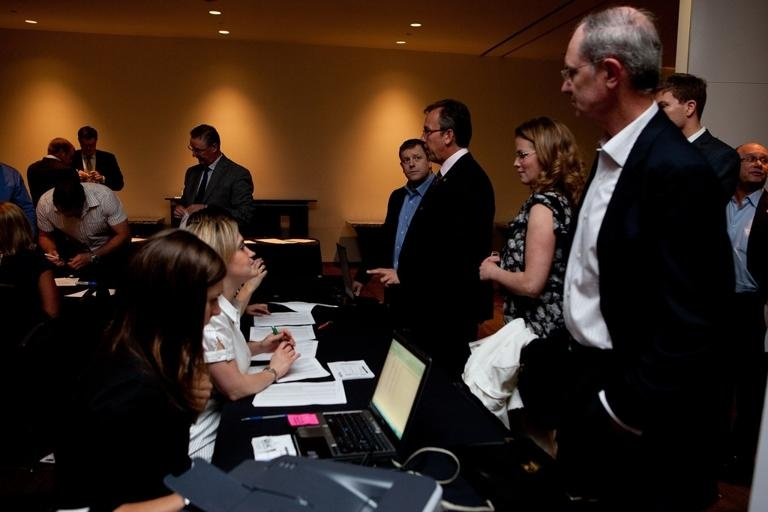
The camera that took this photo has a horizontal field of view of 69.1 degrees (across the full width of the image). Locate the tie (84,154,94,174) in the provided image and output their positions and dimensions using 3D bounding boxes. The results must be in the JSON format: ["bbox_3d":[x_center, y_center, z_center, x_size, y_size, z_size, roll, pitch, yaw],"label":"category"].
[{"bbox_3d":[-3.602,-1.130,6.817,0.138,0.170,0.129,-7,16,-31],"label":"tie"}]

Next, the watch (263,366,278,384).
[{"bbox_3d":[-0.500,0.527,2.500,0.049,0.072,0.075,21,-10,21],"label":"watch"}]

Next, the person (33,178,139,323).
[{"bbox_3d":[-2.403,-0.095,4.494,0.654,1.275,0.717,-5,39,-19],"label":"person"}]

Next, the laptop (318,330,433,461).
[{"bbox_3d":[-0.036,0.547,2.152,0.367,0.332,0.430,-2,13,-12],"label":"laptop"}]
